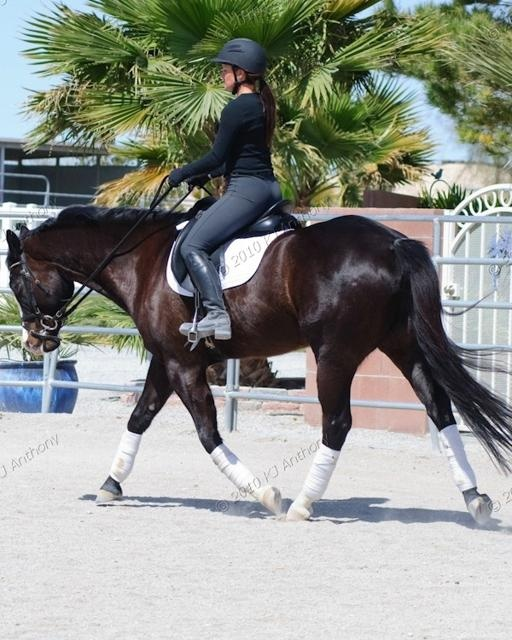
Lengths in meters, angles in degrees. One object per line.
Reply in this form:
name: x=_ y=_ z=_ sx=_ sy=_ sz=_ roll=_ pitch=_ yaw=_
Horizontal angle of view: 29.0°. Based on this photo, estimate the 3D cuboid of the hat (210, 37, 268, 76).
hat: x=-0.124 y=-1.468 z=5.578 sx=0.327 sy=0.127 sz=0.200 roll=14 pitch=16 yaw=7

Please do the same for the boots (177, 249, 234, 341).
boots: x=-0.266 y=-0.127 z=5.348 sx=0.285 sy=0.478 sz=0.325 roll=1 pitch=6 yaw=-3

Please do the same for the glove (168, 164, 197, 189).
glove: x=-0.420 y=-0.813 z=5.647 sx=0.122 sy=0.051 sz=0.148 roll=-10 pitch=-12 yaw=-34
